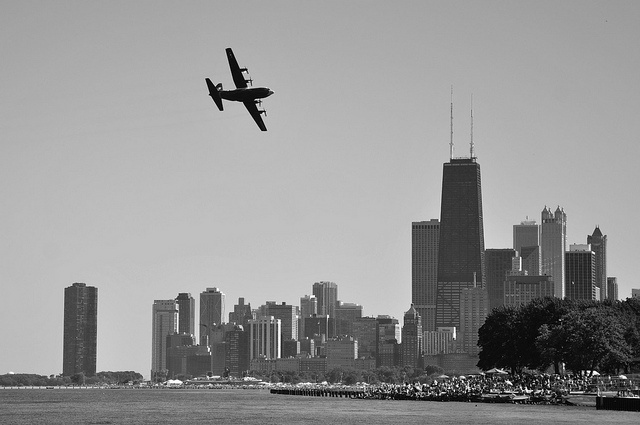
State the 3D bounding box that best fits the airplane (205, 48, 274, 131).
[{"bbox_3d":[-18.816,-29.735,365.939,12.405,16.572,11.948,0,-14,-5],"label":"airplane"}]
